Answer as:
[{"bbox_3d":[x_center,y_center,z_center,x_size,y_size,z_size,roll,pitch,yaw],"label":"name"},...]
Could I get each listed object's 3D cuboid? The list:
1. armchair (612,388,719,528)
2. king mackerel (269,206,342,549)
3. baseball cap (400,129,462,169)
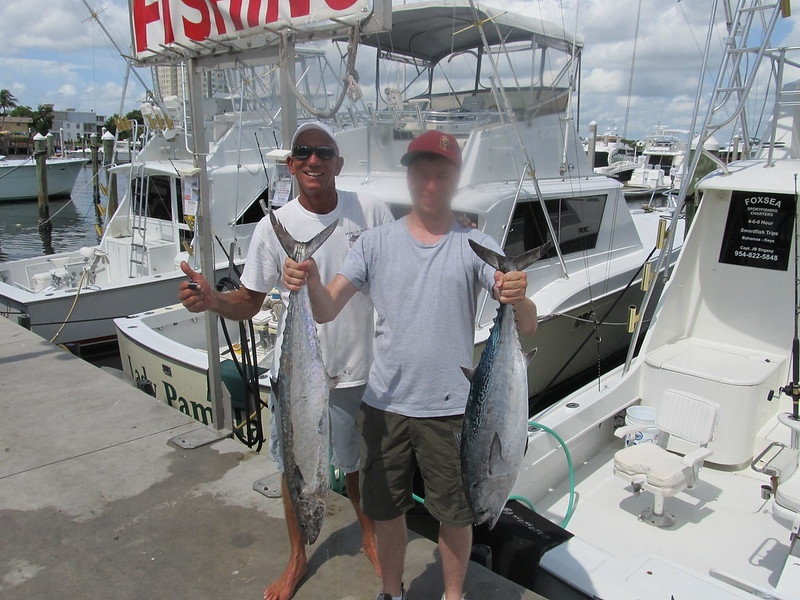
[{"bbox_3d":[1.838,1.118,4.072,0.599,0.760,0.691,9,20,31],"label":"armchair"},{"bbox_3d":[-0.425,0.357,2.593,0.278,1.533,0.236,-3,-10,3],"label":"king mackerel"},{"bbox_3d":[0.175,-0.673,2.699,0.232,0.186,0.394,3,3,8],"label":"baseball cap"}]
